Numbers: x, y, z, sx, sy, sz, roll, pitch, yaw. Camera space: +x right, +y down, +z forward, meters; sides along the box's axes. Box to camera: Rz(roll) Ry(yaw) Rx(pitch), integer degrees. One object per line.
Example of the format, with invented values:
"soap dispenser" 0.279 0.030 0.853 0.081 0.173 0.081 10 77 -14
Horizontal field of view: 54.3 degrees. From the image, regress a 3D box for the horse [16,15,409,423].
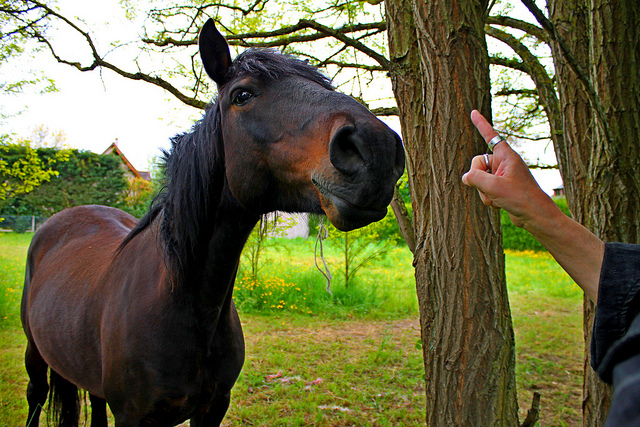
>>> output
"horse" -1.263 0.386 6.472 4.174 4.612 1.533 3 12 9
